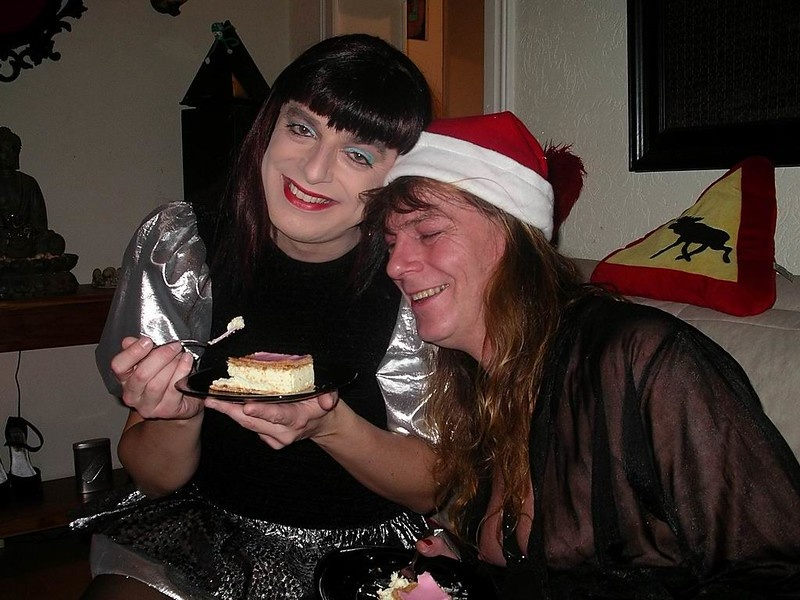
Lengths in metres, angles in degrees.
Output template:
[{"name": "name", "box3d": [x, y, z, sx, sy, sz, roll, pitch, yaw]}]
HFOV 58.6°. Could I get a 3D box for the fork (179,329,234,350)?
[{"name": "fork", "box3d": [-0.552, 0.107, 2.022, 0.066, 0.045, 0.403, 14, -9, -29]}]
